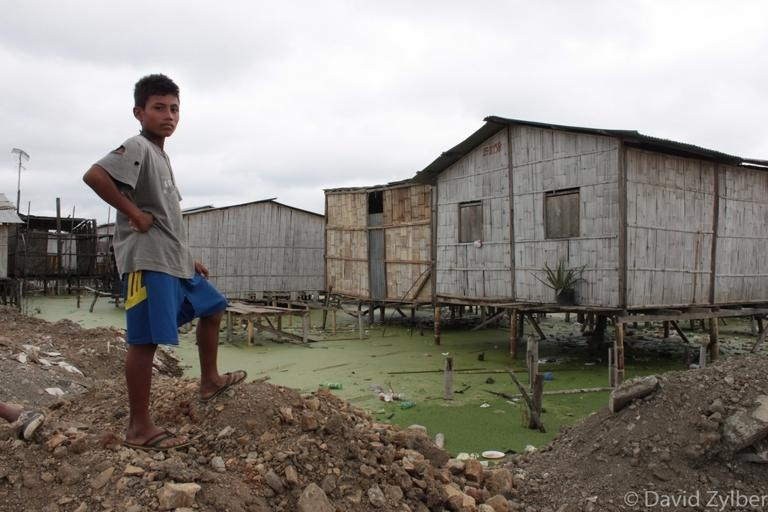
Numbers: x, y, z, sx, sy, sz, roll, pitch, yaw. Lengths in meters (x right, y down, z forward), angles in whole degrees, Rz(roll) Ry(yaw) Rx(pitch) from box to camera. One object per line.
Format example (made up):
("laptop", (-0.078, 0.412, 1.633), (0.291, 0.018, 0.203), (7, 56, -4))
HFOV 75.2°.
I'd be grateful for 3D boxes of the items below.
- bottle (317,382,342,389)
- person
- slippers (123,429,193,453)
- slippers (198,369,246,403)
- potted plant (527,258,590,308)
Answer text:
("bottle", (-0.938, 2.324, 8.907), (0.425, 0.087, 0.396), (1, -3, 0))
("person", (-1.900, 0.008, 4.221), (1.128, 3.193, 0.697), (2, -2, -31))
("slippers", (-1.887, 1.558, 4.170), (0.414, 0.114, 0.213), (-2, -9, -1))
("slippers", (-1.509, 1.212, 4.733), (0.206, 0.123, 0.427), (-4, 17, 40))
("potted plant", (3.833, 0.557, 10.650), (0.904, 0.613, 0.893), (1, -4, -26))
